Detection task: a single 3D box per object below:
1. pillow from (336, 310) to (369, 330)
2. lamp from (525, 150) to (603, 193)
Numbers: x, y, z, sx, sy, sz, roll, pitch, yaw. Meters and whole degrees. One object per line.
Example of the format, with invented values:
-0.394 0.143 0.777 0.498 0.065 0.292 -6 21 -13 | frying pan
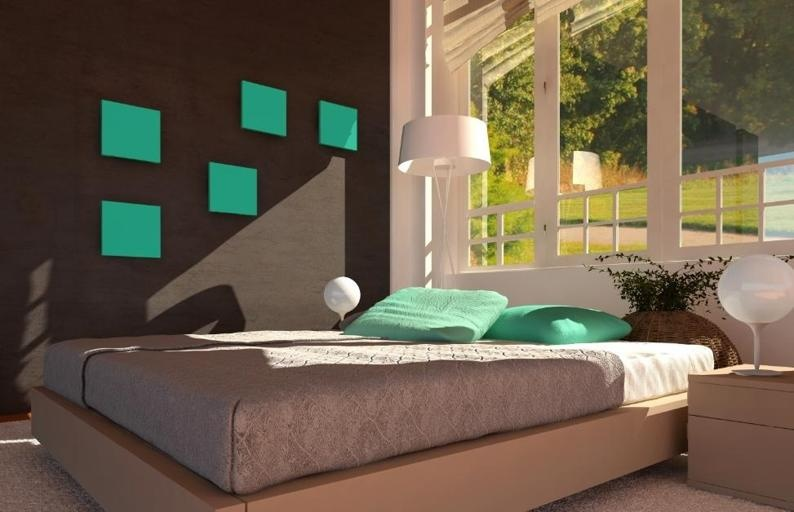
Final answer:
-0.323 0.466 4.788 0.110 0.168 0.103 32 33 -15 | pillow
1.502 -0.712 5.739 0.388 0.257 0.402 0 -4 13 | lamp
